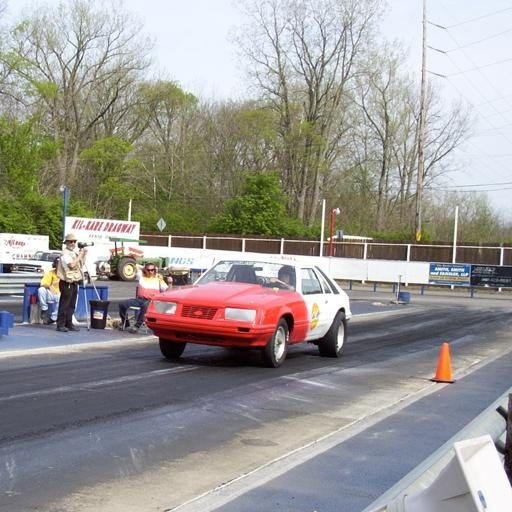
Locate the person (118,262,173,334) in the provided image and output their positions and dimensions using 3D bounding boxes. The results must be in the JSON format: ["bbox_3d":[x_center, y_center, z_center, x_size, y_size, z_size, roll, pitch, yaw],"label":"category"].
[{"bbox_3d":[-2.932,1.078,12.544,0.870,2.093,1.102,-1,-22,25],"label":"person"}]

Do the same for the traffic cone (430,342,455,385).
[{"bbox_3d":[3.327,1.888,8.534,0.385,0.673,0.433,5,-12,8],"label":"traffic cone"}]

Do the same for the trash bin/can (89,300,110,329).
[{"bbox_3d":[-4.112,1.530,12.785,0.697,0.894,0.597,3,-2,-20],"label":"trash bin/can"}]

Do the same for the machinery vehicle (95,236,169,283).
[{"bbox_3d":[-8.335,0.484,32.189,4.067,3.061,2.453,-6,7,-16],"label":"machinery vehicle"}]

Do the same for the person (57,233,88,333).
[{"bbox_3d":[-4.347,0.665,11.727,0.751,2.560,0.734,0,0,32],"label":"person"}]

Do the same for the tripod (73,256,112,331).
[{"bbox_3d":[-4.647,1.152,13.560,0.853,2.400,0.823,4,8,32],"label":"tripod"}]

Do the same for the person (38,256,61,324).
[{"bbox_3d":[-5.344,1.032,12.727,0.631,2.066,0.700,-5,10,-36],"label":"person"}]

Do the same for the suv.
[{"bbox_3d":[-12.593,0.448,29.551,1.543,1.688,3.475,3,9,14],"label":"suv"}]
